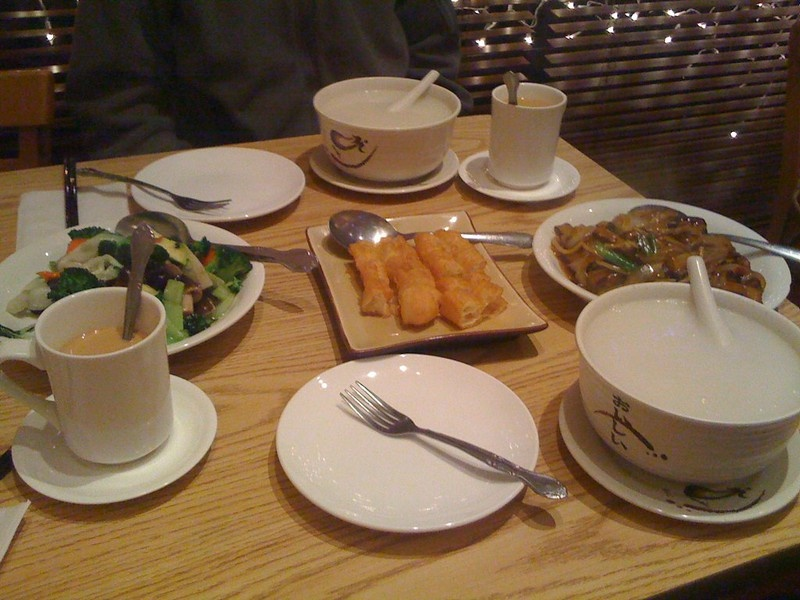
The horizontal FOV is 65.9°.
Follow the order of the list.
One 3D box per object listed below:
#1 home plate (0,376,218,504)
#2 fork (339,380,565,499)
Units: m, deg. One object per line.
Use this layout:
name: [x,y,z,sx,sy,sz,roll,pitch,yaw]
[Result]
home plate: [-0.412,0.200,0.822,0.169,0.023,0.171,22,39,26]
fork: [0.068,0.204,0.879,0.269,0.031,0.039,26,40,22]
